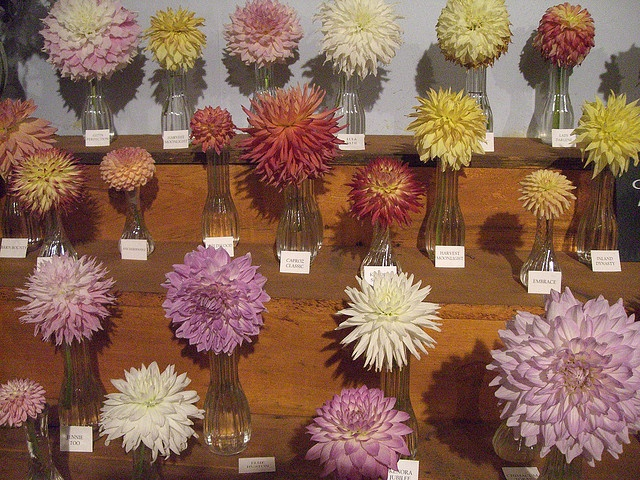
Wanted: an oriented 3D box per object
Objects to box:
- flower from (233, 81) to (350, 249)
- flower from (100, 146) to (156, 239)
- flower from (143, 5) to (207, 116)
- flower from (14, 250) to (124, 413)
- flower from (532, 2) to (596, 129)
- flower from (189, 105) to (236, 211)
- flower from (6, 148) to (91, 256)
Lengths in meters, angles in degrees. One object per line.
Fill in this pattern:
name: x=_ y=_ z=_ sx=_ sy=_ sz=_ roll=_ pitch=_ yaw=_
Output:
flower: x=-0.083 y=-0.178 z=1.509 sx=0.268 sy=0.464 sz=0.310 roll=1 pitch=9 yaw=-8
flower: x=-0.556 y=-0.119 z=1.615 sx=0.139 sy=0.302 sz=0.218 roll=-1 pitch=9 yaw=-18
flower: x=-0.464 y=-0.603 z=1.791 sx=0.196 sy=0.328 sz=0.273 roll=0 pitch=9 yaw=-15
flower: x=-0.574 y=0.168 z=1.413 sx=0.261 sy=0.352 sz=0.284 roll=-12 pitch=38 yaw=-23
flower: x=0.745 y=-0.536 z=1.737 sx=0.161 sy=0.369 sz=0.241 roll=4 pitch=9 yaw=15
flower: x=-0.306 y=-0.292 z=1.568 sx=0.115 sy=0.165 sz=0.147 roll=0 pitch=9 yaw=-14
flower: x=-0.767 y=-0.112 z=1.545 sx=0.158 sy=0.250 sz=0.157 roll=33 pitch=40 yaw=31
